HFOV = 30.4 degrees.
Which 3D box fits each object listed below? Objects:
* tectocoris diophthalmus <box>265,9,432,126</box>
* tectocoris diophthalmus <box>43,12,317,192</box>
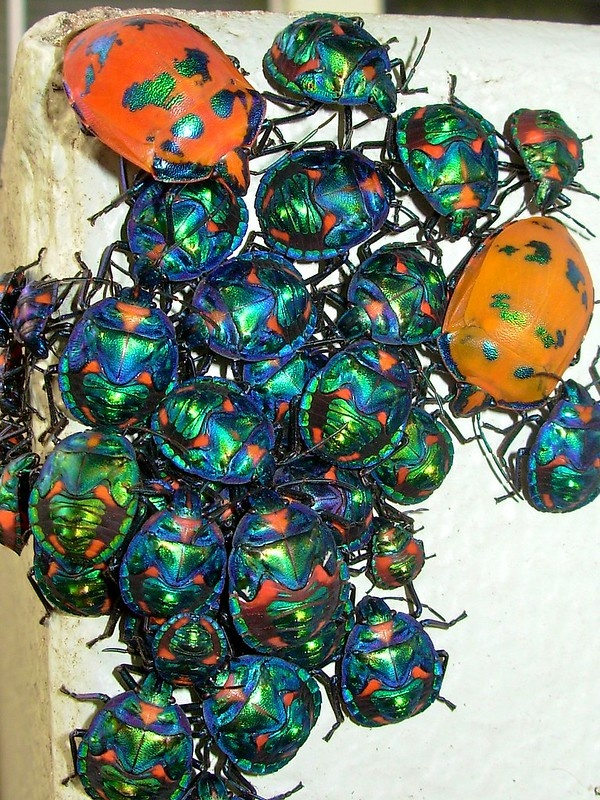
[{"bbox_3d":[0.107,-0.683,2.407,0.308,0.098,0.293,39,79,13],"label":"tectocoris diophthalmus"},{"bbox_3d":[-0.243,-0.562,2.148,0.423,0.126,0.369,43,82,-6],"label":"tectocoris diophthalmus"}]
